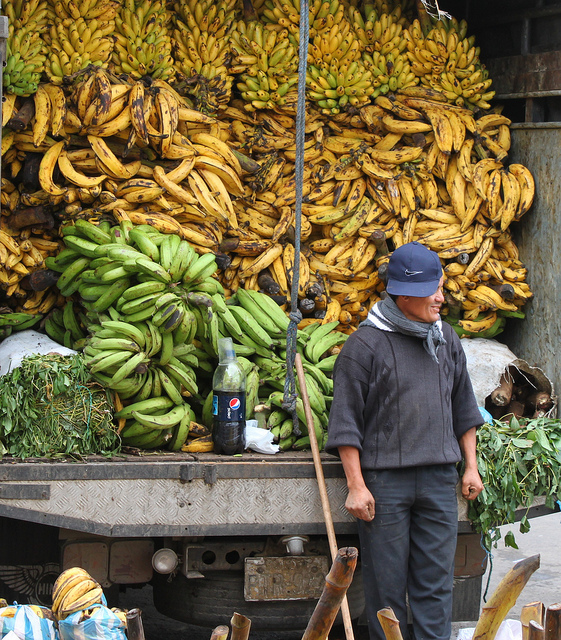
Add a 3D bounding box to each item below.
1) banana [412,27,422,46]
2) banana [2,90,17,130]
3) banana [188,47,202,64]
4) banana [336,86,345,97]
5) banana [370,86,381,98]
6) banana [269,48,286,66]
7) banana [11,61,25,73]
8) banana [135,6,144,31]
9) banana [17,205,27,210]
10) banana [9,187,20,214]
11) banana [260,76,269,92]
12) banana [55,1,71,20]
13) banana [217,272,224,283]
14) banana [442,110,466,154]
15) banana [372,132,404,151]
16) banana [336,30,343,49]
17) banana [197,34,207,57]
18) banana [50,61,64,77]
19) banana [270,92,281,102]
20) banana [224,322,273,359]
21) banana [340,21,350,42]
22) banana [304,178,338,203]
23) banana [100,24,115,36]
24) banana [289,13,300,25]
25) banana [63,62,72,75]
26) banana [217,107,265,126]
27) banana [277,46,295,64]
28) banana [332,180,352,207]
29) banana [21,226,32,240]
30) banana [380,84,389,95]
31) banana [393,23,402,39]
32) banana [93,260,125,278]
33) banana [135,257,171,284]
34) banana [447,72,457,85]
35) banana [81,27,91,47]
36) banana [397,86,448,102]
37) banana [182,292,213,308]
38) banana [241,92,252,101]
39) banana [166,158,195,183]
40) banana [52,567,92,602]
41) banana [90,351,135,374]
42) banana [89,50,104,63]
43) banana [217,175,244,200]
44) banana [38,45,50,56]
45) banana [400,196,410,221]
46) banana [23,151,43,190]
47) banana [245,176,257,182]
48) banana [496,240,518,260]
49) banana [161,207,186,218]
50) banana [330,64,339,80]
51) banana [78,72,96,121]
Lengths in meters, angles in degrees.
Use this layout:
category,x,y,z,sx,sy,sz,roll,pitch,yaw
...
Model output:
category,x,y,z,sx,sy,sz,roll,pitch,yaw
banana,0.914,-1.891,5.169,0.036,0.123,0.042,-6,-2,-14
banana,-1.443,-1.128,4.127,0.063,0.210,0.183,2,-2,-15
banana,-0.532,-1.618,4.724,0.050,0.036,0.129,30,18,-50
banana,0.379,-1.454,4.908,0.057,0.053,0.029,8,2,-17
banana,0.626,-1.500,5.072,0.029,0.104,0.035,20,-31,43
banana,-0.024,-1.659,4.855,0.124,0.060,0.043,-45,-18,15
banana,-1.365,-1.331,4.055,0.026,0.091,0.030,32,-33,2
banana,-0.825,-1.788,4.564,0.041,0.122,0.035,-23,-18,39
banana,-1.450,-0.637,4.348,0.052,0.027,0.012,9,-2,1
banana,-1.483,-0.667,4.324,0.046,0.137,0.042,1,-12,-10
banana,-0.100,-1.472,4.817,0.039,0.068,0.030,-5,17,-15
banana,-1.230,-1.741,4.346,0.039,0.114,0.077,-25,-6,-15
banana,-0.364,-0.265,4.796,0.020,0.068,0.025,1,-7,-38
banana,1.156,-1.251,5.142,0.114,0.276,0.067,6,-32,-36
banana,0.668,-1.191,5.161,0.306,0.098,0.069,-9,-9,-21
banana,0.379,-1.806,4.988,0.039,0.112,0.033,-3,-9,31
banana,-0.472,-1.682,4.721,0.037,0.127,0.044,-1,-20,14
banana,-1.230,-1.382,4.258,0.028,0.105,0.035,-29,14,35
banana,-0.032,-1.401,4.841,0.055,0.050,0.028,8,8,-9
banana,-0.181,0.113,4.347,0.228,0.051,0.081,38,29,-2
banana,0.428,-1.878,5.022,0.034,0.120,0.042,17,-16,-10
banana,0.270,-0.847,5.130,0.336,0.113,0.099,-30,42,-34
banana,-0.982,-1.668,4.431,0.106,0.028,0.034,-35,18,-17
banana,0.087,-1.923,4.909,0.057,0.075,0.146,1,-2,-4
banana,-1.170,-1.392,4.267,0.036,0.066,0.040,-3,6,8
banana,-0.258,-1.293,4.905,0.247,0.080,0.061,27,18,-8
banana,0.048,-1.676,4.882,0.047,0.172,0.057,22,-28,50
banana,0.393,-0.849,5.054,0.066,0.230,0.082,33,-26,-17
banana,-1.416,-0.489,4.344,0.043,0.090,0.031,33,11,-18
banana,0.680,-1.514,5.054,0.038,0.066,0.033,14,8,-10
banana,0.774,-1.916,5.121,0.030,0.105,0.036,15,-21,3
banana,-0.871,-0.263,3.967,0.148,0.038,0.039,-31,-28,4
banana,-0.633,-0.245,3.939,0.241,0.069,0.085,36,-9,-40
banana,1.131,-1.601,5.110,0.037,0.071,0.024,-28,6,-17
banana,-1.085,-1.591,4.353,0.034,0.106,0.036,20,19,14
banana,0.933,-1.512,5.160,0.251,0.069,0.063,9,37,-5
banana,-0.438,-0.124,4.038,0.211,0.056,0.076,10,-33,36
banana,-0.216,-1.410,4.868,0.045,0.034,0.074,0,-2,22
banana,-0.590,-0.887,4.566,0.162,0.052,0.105,-40,10,-22
banana,-0.423,0.558,1.570,0.032,0.083,0.074,18,17,34
banana,-0.814,0.205,3.737,0.175,0.032,0.043,-25,-1,-17
banana,-1.035,-1.502,4.378,0.106,0.032,0.069,-43,21,-30
banana,-0.303,-0.812,4.828,0.231,0.080,0.048,41,-56,-16
banana,-1.299,-1.481,4.242,0.039,0.027,0.049,2,-47,2
banana,0.825,-0.744,5.160,0.049,0.153,0.049,7,-28,-45
banana,-1.352,-0.830,4.252,0.051,0.186,0.110,5,-6,25
banana,-0.189,-0.898,4.907,0.027,0.033,0.096,-21,2,-36
banana,1.513,-0.464,5.128,0.046,0.058,0.164,-12,39,-35
banana,-0.613,-0.647,4.599,0.175,0.043,0.064,-14,22,-11
banana,0.339,-1.578,4.909,0.043,0.080,0.027,-13,0,-3
banana,-1.058,-1.227,4.228,0.074,0.285,0.104,12,-4,-23
